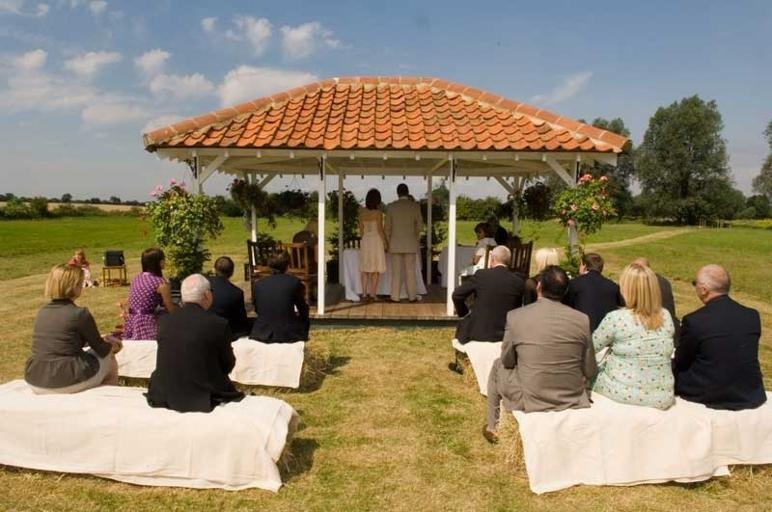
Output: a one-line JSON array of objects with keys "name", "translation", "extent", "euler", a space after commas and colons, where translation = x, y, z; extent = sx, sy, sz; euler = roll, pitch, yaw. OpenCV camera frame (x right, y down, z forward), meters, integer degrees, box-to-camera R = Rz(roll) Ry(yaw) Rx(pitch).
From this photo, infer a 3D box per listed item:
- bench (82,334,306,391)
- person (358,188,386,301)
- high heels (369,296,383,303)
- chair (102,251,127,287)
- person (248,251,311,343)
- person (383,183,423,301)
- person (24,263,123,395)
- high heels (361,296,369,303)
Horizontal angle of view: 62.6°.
[{"name": "bench", "translation": [-2.534, 1.664, 9.810], "extent": [1.872, 0.505, 1.192], "euler": [0, 3, 5]}, {"name": "person", "translation": [-0.291, -0.215, 13.375], "extent": [0.567, 2.328, 0.742], "euler": [0, 2, -2]}, {"name": "high heels", "translation": [-0.250, 0.946, 13.658], "extent": [0.343, 0.147, 0.123], "euler": [-3, 7, -3]}, {"name": "chair", "translation": [-8.041, 0.368, 18.815], "extent": [0.808, 1.073, 0.846], "euler": [3, 5, 17]}, {"name": "person", "translation": [-1.731, 0.793, 10.385], "extent": [1.024, 1.792, 1.033], "euler": [-4, 19, -16]}, {"name": "person", "translation": [0.341, -0.273, 13.366], "extent": [0.758, 2.508, 0.925], "euler": [0, 2, 0]}, {"name": "person", "translation": [-4.248, 0.979, 8.480], "extent": [1.006, 1.724, 0.416], "euler": [-1, 2, -30]}, {"name": "high heels", "translation": [-0.466, 0.943, 13.578], "extent": [0.136, 0.271, 0.136], "euler": [3, -8, -31]}]
